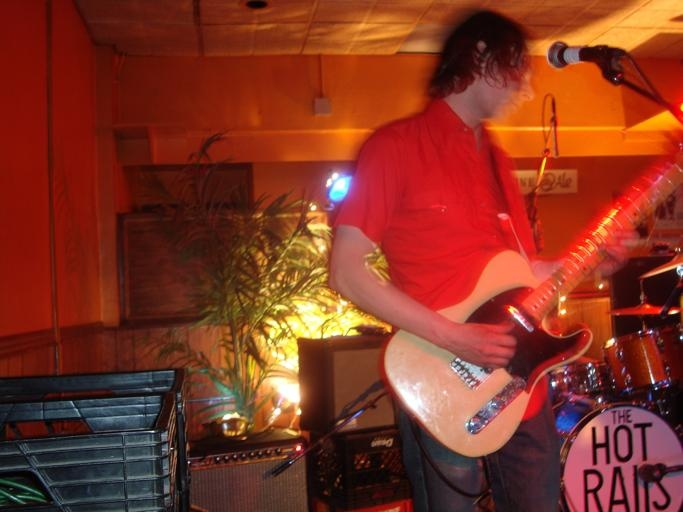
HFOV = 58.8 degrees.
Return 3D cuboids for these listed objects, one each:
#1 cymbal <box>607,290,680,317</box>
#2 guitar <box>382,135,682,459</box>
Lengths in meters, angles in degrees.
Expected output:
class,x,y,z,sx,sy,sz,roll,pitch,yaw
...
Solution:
class,x,y,z,sx,sy,sz,roll,pitch,yaw
cymbal,2.489,0.385,4.994,0.301,0.075,0.304,14,-20,9
guitar,0.691,0.208,2.238,1.171,0.942,0.162,-8,-4,-17
